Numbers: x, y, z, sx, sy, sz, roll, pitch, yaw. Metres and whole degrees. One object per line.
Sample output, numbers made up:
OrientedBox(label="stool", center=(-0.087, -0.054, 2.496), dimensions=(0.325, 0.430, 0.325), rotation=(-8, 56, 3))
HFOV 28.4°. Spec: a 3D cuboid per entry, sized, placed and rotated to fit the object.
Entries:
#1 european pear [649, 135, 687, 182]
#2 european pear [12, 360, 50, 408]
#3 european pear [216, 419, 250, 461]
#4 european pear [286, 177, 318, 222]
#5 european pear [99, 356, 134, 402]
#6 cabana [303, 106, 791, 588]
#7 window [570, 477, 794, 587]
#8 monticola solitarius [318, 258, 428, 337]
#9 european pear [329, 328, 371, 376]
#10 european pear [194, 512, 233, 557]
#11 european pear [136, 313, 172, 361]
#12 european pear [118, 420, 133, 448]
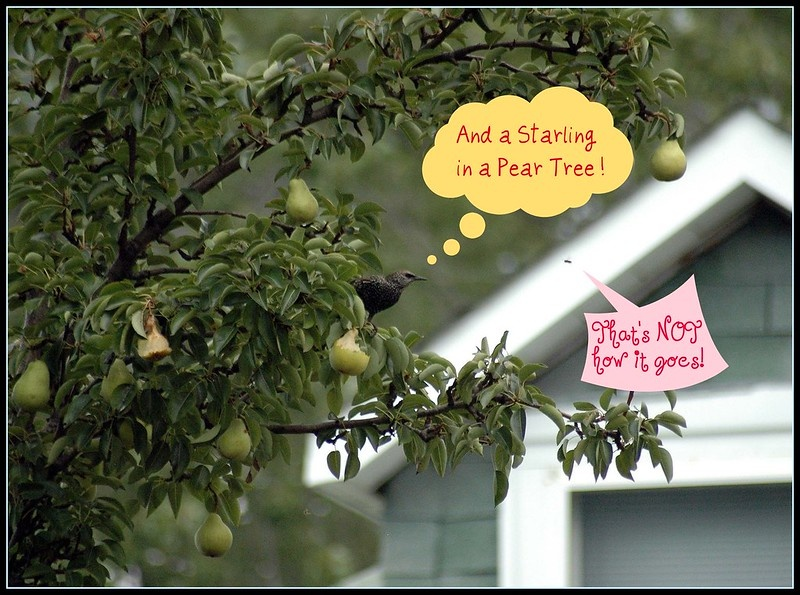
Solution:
OrientedBox(label="european pear", center=(1.385, -0.713, 8.140), dimensions=(0.153, 0.240, 0.163), rotation=(16, 16, 24))
OrientedBox(label="european pear", center=(-1.854, 0.445, 7.923), dimensions=(0.183, 0.248, 0.160), rotation=(6, -25, -15))
OrientedBox(label="european pear", center=(-0.828, 0.722, 7.862), dimensions=(0.169, 0.259, 0.176), rotation=(7, -7, -14))
OrientedBox(label="european pear", center=(-0.517, -0.504, 8.114), dimensions=(0.147, 0.240, 0.154), rotation=(-12, 17, -20))
OrientedBox(label="european pear", center=(-1.413, 0.431, 7.724), dimensions=(0.210, 0.201, 0.120), rotation=(-21, -30, 36))
OrientedBox(label="cabana", center=(1.100, 0.375, 10.557), dimensions=(2.346, 3.851, 3.113), rotation=(4, -11, 3))
OrientedBox(label="window", center=(1.603, 1.366, 8.925), dimensions=(1.174, 0.554, 0.175), rotation=(-5, -23, 8))
OrientedBox(label="monticola solitarius", center=(-0.129, -0.024, 8.166), dimensions=(0.517, 0.345, 0.285), rotation=(20, -1, 29))
OrientedBox(label="european pear", center=(-0.254, 0.277, 7.745), dimensions=(0.177, 0.254, 0.191), rotation=(18, -19, -25))
OrientedBox(label="european pear", center=(-0.964, 1.221, 8.113), dimensions=(0.178, 0.237, 0.266), rotation=(3, -25, -8))
OrientedBox(label="european pear", center=(-1.177, 0.201, 7.550), dimensions=(0.154, 0.204, 0.095), rotation=(4, -24, -11))
OrientedBox(label="european pear", center=(-1.386, 0.694, 7.950), dimensions=(0.079, 0.111, 0.034), rotation=(-14, 13, 9))
